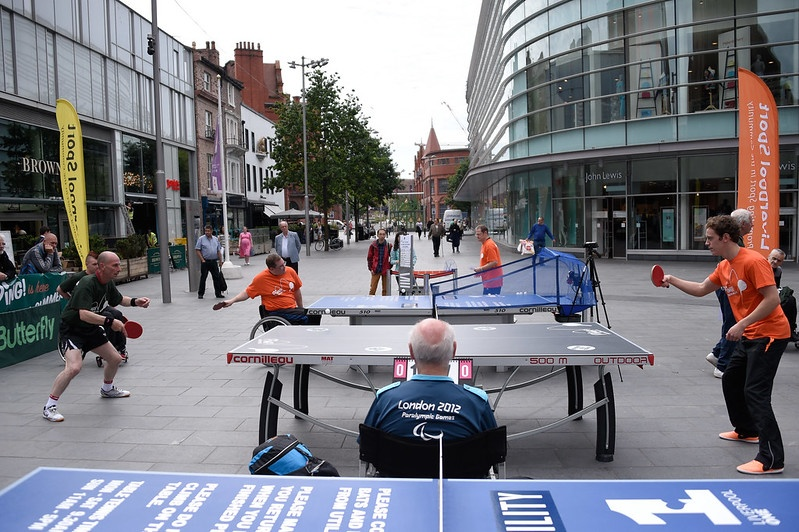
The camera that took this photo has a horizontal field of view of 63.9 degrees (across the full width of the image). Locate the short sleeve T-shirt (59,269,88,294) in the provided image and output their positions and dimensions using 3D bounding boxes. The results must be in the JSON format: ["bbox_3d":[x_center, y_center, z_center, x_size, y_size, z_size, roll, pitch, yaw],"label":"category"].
[{"bbox_3d":[-5.166,0.249,10.152,0.335,0.334,0.181,21,14,-47],"label":"short sleeve T-shirt"}]

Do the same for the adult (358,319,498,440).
[{"bbox_3d":[0.230,0.983,5.790,1.306,1.057,0.698,3,1,-8],"label":"adult"}]

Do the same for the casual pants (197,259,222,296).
[{"bbox_3d":[-5.499,0.380,18.552,0.675,1.123,1.347,-5,14,-17],"label":"casual pants"}]

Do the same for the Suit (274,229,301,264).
[{"bbox_3d":[-3.231,-0.550,18.662,1.082,1.227,0.763,0,1,-8],"label":"Suit"}]

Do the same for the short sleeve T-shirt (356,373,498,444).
[{"bbox_3d":[0.242,1.327,5.858,1.174,0.583,0.605,2,4,9],"label":"short sleeve T-shirt"}]

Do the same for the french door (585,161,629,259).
[{"bbox_3d":[8.931,-2.361,28.216,1.917,4.500,0.547,1,24,19],"label":"french door"}]

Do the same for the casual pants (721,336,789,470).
[{"bbox_3d":[4.001,1.460,7.182,0.455,1.374,0.859,-1,14,-1],"label":"casual pants"}]

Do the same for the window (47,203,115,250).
[{"bbox_3d":[-13.658,-1.566,27.542,0.263,2.247,3.926,-6,5,17],"label":"window"}]

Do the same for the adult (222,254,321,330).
[{"bbox_3d":[-2.088,0.460,11.048,1.218,1.276,0.880,-2,14,-7],"label":"adult"}]

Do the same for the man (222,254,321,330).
[{"bbox_3d":[-2.213,0.576,11.152,1.737,1.523,1.216,-4,21,-6],"label":"man"}]

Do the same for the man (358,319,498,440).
[{"bbox_3d":[0.267,0.987,5.786,1.301,1.046,0.675,2,3,-4],"label":"man"}]

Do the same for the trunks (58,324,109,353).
[{"bbox_3d":[-4.457,1.015,9.042,0.376,0.505,0.707,0,0,41],"label":"trunks"}]

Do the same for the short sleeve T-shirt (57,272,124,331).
[{"bbox_3d":[-4.282,0.495,8.961,0.500,0.813,0.672,7,15,28],"label":"short sleeve T-shirt"}]

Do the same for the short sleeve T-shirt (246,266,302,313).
[{"bbox_3d":[-2.140,0.396,11.133,0.993,0.743,0.544,-10,14,-22],"label":"short sleeve T-shirt"}]

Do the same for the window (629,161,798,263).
[{"bbox_3d":[9.737,-1.779,19.993,4.276,3.051,0.342,3,6,31],"label":"window"}]
